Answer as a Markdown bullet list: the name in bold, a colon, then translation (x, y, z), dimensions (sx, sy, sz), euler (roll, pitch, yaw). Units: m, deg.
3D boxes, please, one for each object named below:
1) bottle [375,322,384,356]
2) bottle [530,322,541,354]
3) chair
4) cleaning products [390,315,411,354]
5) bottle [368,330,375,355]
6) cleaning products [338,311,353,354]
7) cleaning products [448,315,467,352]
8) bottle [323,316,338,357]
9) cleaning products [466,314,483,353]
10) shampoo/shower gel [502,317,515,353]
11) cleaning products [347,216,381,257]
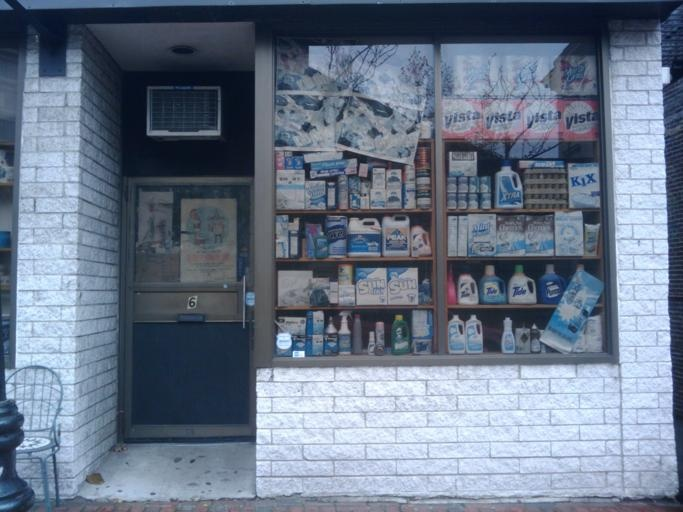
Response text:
- **bottle**: translation (0.325, 0.652, 7.112), dimensions (0.076, 0.264, 0.060), euler (0, -1, 4)
- **bottle**: translation (1.603, 0.663, 7.144), dimensions (0.092, 0.229, 0.038), euler (-1, -1, 10)
- **chair**: translation (-2.405, 1.414, 6.861), dimensions (0.430, 1.101, 0.558), euler (0, -1, -19)
- **cleaning products**: translation (0.494, 0.625, 7.123), dimensions (0.161, 0.318, 0.063), euler (0, -1, -5)
- **bottle**: translation (0.254, 0.692, 7.106), dimensions (0.066, 0.184, 0.045), euler (0, -1, 1)
- **cleaning products**: translation (0.037, 0.616, 7.131), dimensions (0.109, 0.330, 0.062), euler (0, -1, 2)
- **cleaning products**: translation (0.952, 0.626, 7.120), dimensions (0.141, 0.308, 0.064), euler (-1, -1, 7)
- **bottle**: translation (-0.078, 0.639, 7.118), dimensions (0.110, 0.302, 0.060), euler (0, -1, -1)
- **cleaning products**: translation (1.096, 0.625, 7.138), dimensions (0.141, 0.303, 0.063), euler (-1, -1, 6)
- **shampoo/shower gel**: translation (1.379, 0.636, 7.147), dimensions (0.115, 0.283, 0.055), euler (-1, -1, 6)
- **cleaning products**: translation (0.187, -0.152, 7.203), dimensions (0.413, 0.349, 0.226), euler (1, -3, -2)
